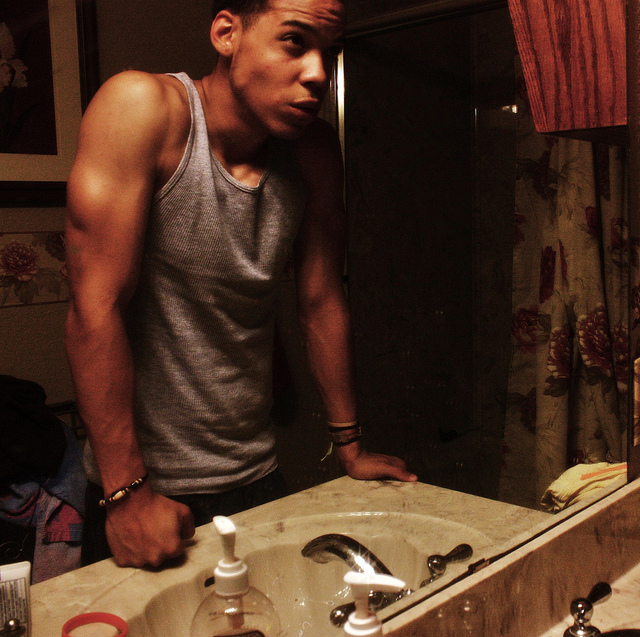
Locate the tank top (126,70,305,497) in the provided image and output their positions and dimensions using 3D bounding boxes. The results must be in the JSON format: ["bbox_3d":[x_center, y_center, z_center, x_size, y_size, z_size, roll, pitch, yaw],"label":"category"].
[{"bbox_3d":[-0.098,-0.039,0.778,0.217,0.430,0.095,-4,3,-23],"label":"tank top"}]
